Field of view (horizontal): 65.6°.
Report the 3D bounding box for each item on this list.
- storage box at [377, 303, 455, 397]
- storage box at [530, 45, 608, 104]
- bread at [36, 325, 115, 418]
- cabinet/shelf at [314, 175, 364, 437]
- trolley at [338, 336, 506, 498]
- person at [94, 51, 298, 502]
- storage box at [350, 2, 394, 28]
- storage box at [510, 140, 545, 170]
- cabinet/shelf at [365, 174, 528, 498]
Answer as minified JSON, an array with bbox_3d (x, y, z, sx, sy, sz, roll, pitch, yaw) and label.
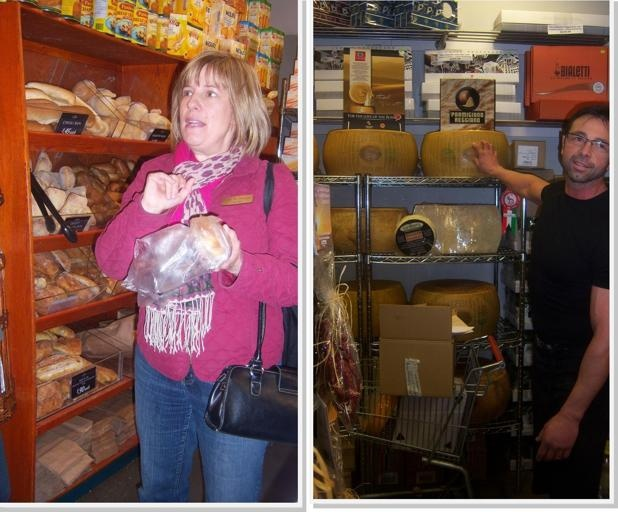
[{"bbox_3d":[0.471,0.391,2.091,0.361,0.378,0.346,3,7,32],"label":"storage box"},{"bbox_3d":[1.316,-0.953,2.452,0.352,0.305,0.231,0,2,5],"label":"storage box"},{"bbox_3d":[-1.048,0.472,2.021,0.310,0.087,0.325,23,26,37],"label":"bread"},{"bbox_3d":[0.103,0.241,1.710,0.189,0.984,0.331,4,11,6],"label":"cabinet/shelf"},{"bbox_3d":[0.577,0.813,2.305,0.694,0.632,0.412,-5,-23,26],"label":"trolley"},{"bbox_3d":[-0.333,0.115,1.468,0.601,1.438,0.392,2,11,0],"label":"person"},{"bbox_3d":[0.358,-1.322,2.634,0.245,0.150,0.143,-2,8,-14],"label":"storage box"},{"bbox_3d":[1.154,-0.528,2.513,0.158,0.140,0.158,2,7,10],"label":"storage box"},{"bbox_3d":[0.773,0.330,2.723,0.840,1.523,0.537,1,5,21],"label":"cabinet/shelf"}]
